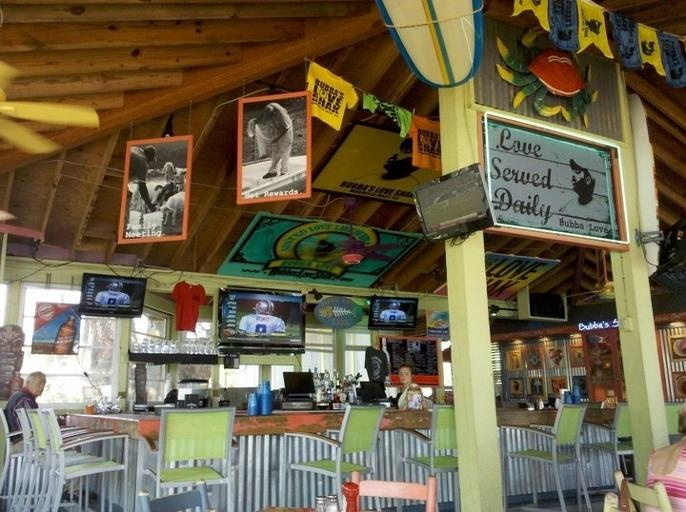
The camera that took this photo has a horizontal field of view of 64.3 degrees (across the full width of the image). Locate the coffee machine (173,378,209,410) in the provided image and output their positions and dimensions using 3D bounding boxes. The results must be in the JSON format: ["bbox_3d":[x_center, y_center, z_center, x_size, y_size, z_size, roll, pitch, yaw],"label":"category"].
[{"bbox_3d":[-1.620,1.485,5.866,0.334,0.274,0.306,10,-21,-38],"label":"coffee machine"}]

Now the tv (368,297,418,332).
[{"bbox_3d":[0.979,1.165,11.020,0.798,0.493,0.103,4,-12,-15],"label":"tv"}]

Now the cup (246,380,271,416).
[{"bbox_3d":[-0.855,1.447,5.558,0.233,0.338,0.378,2,-17,-9],"label":"cup"}]

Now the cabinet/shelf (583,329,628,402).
[{"bbox_3d":[5.591,2.375,11.681,0.398,1.516,0.904,11,-21,-31],"label":"cabinet/shelf"}]

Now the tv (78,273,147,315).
[{"bbox_3d":[-3.718,0.615,8.645,0.745,0.476,0.095,5,-11,-22],"label":"tv"}]

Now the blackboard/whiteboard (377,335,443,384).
[{"bbox_3d":[1.268,2.051,10.708,1.593,1.000,0.162,1,-9,-25],"label":"blackboard/whiteboard"}]

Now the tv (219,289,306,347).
[{"bbox_3d":[-1.492,1.115,9.573,1.181,0.730,0.147,4,-15,-19],"label":"tv"}]
